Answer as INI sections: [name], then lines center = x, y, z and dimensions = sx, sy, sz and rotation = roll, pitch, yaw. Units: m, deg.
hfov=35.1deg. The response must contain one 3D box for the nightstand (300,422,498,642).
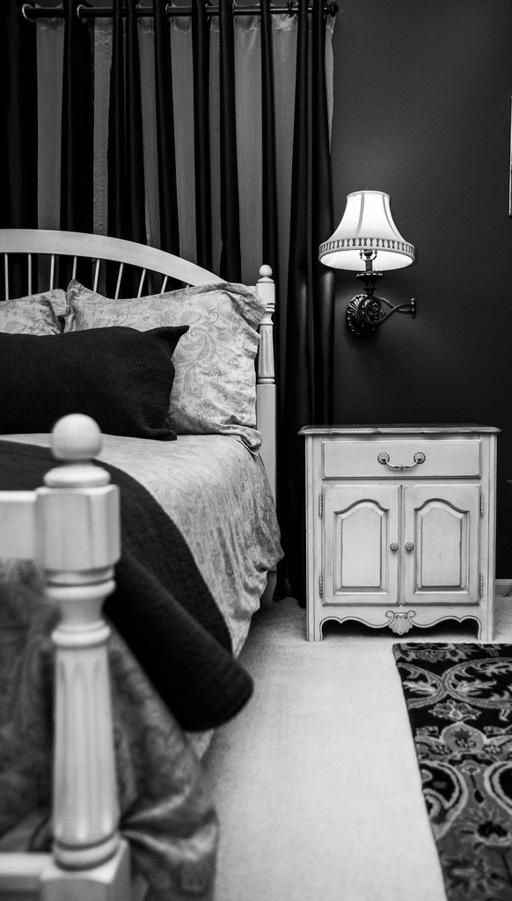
[nightstand]
center = 0.366, 0.182, 2.312
dimensions = 0.631, 0.880, 0.449
rotation = 0, -3, 1
